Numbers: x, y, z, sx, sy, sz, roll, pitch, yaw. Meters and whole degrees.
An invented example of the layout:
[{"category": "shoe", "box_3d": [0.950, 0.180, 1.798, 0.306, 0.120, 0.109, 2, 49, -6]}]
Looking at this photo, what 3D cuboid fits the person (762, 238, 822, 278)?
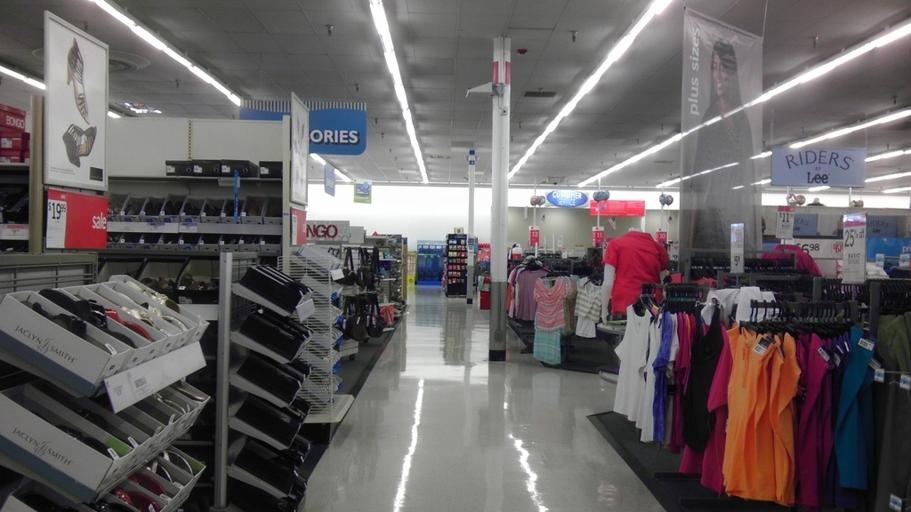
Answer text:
[{"category": "person", "box_3d": [4.707, 0.034, 8.211, 0.567, 0.285, 0.757, 3, 4, 12]}]
